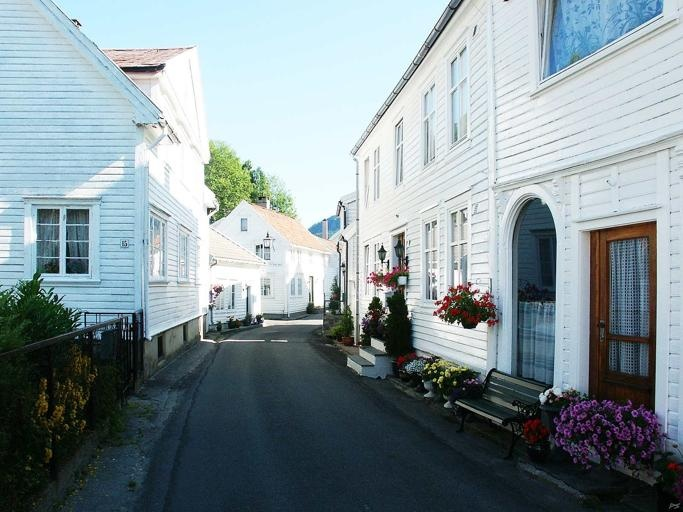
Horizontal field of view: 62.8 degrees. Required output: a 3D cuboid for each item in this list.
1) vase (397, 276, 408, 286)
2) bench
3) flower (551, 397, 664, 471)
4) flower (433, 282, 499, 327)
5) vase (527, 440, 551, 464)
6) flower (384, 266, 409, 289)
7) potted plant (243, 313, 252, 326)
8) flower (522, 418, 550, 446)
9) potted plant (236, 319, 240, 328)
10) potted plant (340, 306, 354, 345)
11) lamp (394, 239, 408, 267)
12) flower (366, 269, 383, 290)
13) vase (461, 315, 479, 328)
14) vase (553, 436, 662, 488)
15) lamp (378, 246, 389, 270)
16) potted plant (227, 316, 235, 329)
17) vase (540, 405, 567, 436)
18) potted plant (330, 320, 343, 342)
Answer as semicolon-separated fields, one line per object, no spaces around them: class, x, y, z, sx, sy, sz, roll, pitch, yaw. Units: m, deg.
vase;1.586;0.652;14.475;0.218;0.224;0.212;2;5;5
bench;2.448;2.409;8.776;0.780;1.115;1.620;4;-4;-15
flower;3.369;2.214;6.999;0.822;0.691;0.958;0;1;-1
flower;2.230;0.884;9.881;0.738;0.646;0.815;1;-2;-19
vase;2.731;2.703;7.739;0.256;0.234;0.287;1;-18;-3
flower;1.431;0.565;14.706;0.488;0.406;0.515;3;-8;-9
potted plant;-4.924;3.360;29.268;0.409;0.936;0.381;-1;-16;11
flower;2.641;2.372;7.757;0.331;0.398;0.330;-5;0;-3
potted plant;-5.134;3.327;27.679;0.165;0.368;0.925;0;-1;-8
potted plant;0.219;2.604;21.053;0.447;1.303;1.239;0;0;-1
lamp;1.574;-0.035;14.798;0.312;0.682;0.733;0;0;-1
flower;0.990;0.658;15.917;0.428;0.346;0.457;-4;-10;31
vase;2.229;1.140;9.691;0.291;0.241;0.463;0;-1;14
vase;3.392;2.475;7.032;0.634;0.352;0.744;-1;-8;7
lamp;1.227;0.048;16.267;0.291;0.687;1.114;0;-1;4
potted plant;-5.316;3.239;27.114;0.402;0.757;0.431;-2;-13;7
vase;2.956;2.315;7.919;0.322;0.383;0.353;1;-11;-10
potted plant;-0.180;2.848;21.632;0.540;0.770;0.692;1;-21;4
